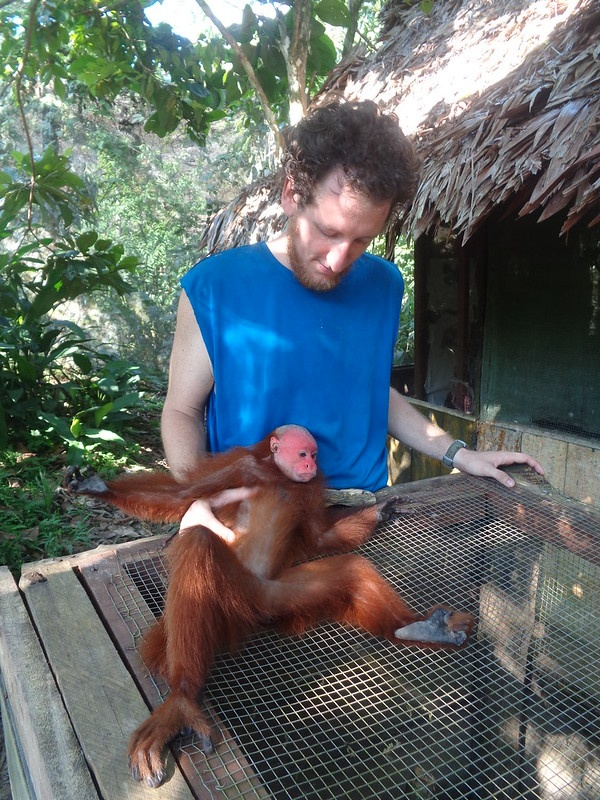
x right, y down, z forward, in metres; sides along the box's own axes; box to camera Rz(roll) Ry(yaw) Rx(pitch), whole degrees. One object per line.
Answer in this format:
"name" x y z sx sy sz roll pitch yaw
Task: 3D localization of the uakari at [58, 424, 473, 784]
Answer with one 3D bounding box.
"uakari" -0.094 0.392 1.385 0.632 0.414 0.699 21 -31 -34
